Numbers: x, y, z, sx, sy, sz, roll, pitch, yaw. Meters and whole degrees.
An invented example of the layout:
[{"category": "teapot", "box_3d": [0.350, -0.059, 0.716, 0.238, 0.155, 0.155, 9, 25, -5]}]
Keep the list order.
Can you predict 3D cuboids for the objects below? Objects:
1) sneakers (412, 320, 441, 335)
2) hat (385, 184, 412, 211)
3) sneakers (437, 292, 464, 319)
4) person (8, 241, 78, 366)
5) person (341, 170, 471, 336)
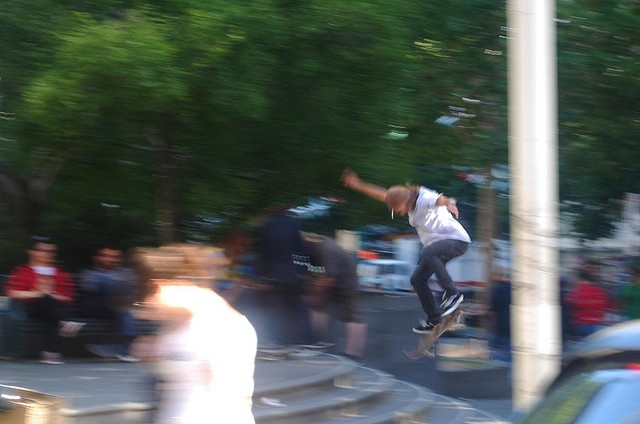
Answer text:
[{"category": "sneakers", "box_3d": [1.625, 1.888, 21.930, 0.615, 0.213, 0.173, -14, 37, 39]}, {"category": "hat", "box_3d": [1.245, -0.208, 21.432, 0.421, 0.409, 0.291, 0, 1, 0]}, {"category": "sneakers", "box_3d": [2.016, 1.485, 21.707, 0.584, 0.243, 0.223, -39, 14, -6]}, {"category": "person", "box_3d": [-4.618, 1.544, 22.863, 1.206, 2.024, 0.577, 0, 1, -18]}, {"category": "person", "box_3d": [1.754, 0.773, 21.532, 1.250, 2.371, 0.589, 0, 1, 3]}]
